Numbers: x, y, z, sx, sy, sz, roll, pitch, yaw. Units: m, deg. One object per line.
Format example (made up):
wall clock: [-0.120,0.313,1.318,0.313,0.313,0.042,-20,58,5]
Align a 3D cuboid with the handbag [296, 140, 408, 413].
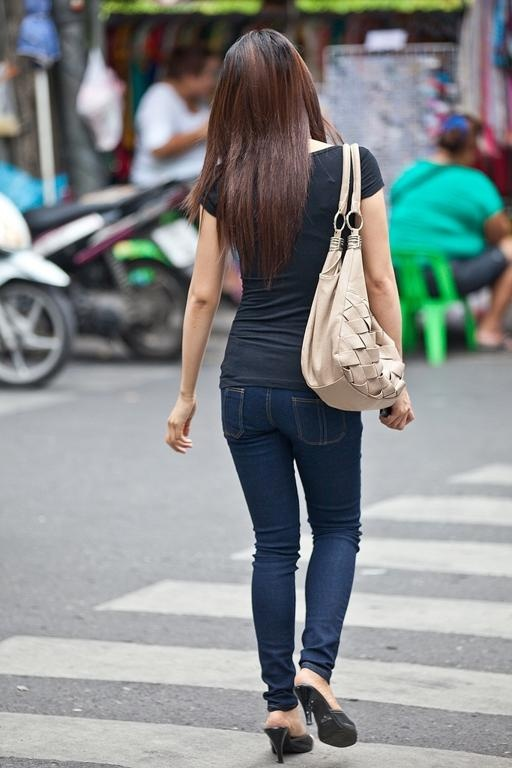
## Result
handbag: [0.225,-0.212,1.854,0.169,0.595,0.285,6,10,42]

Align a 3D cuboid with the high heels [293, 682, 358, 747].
high heels: [0.152,0.705,1.824,0.096,0.177,0.112,-32,39,21]

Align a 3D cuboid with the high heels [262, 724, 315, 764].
high heels: [0.074,0.828,2.009,0.061,0.064,0.166,0,8,15]
